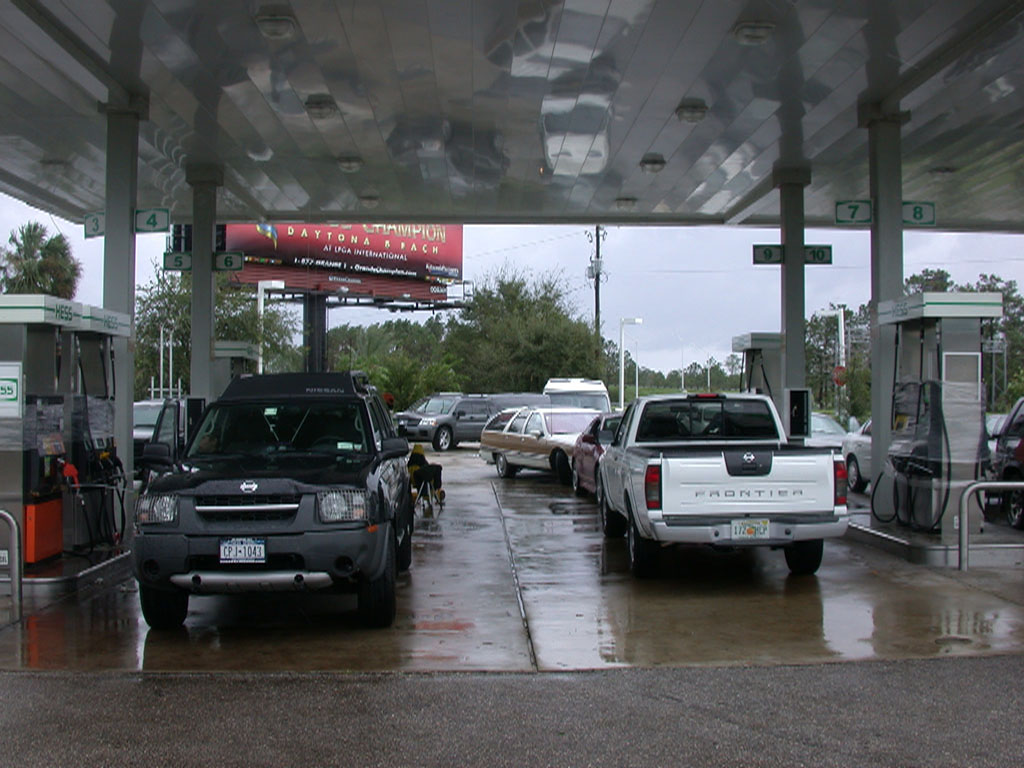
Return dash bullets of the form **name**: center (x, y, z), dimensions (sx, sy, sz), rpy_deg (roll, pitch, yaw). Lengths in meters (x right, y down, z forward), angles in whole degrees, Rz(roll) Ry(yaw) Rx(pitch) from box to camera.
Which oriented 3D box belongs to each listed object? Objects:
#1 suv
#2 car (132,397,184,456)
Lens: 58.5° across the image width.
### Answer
- **suv**: center (-2.314, 1.104, 9.169), dimensions (2.376, 2.430, 2.362), rpy_deg (0, 1, 1)
- **car**: center (-6.534, 0.780, 16.834), dimensions (0.983, 1.028, 1.775), rpy_deg (0, -7, -3)
